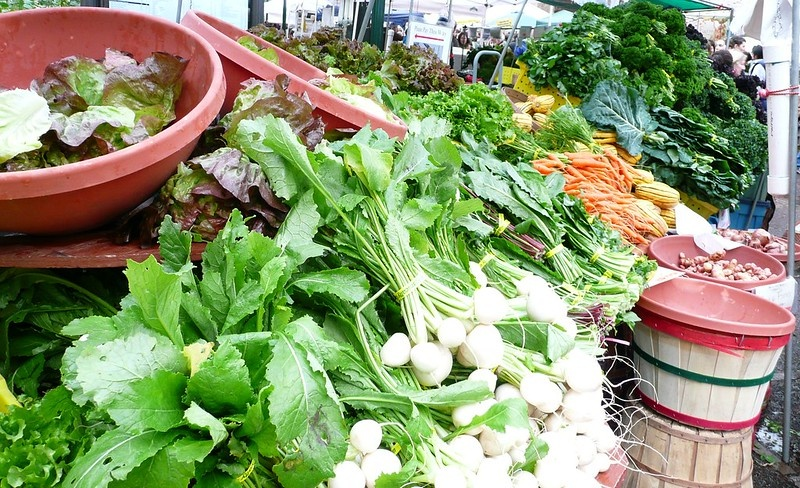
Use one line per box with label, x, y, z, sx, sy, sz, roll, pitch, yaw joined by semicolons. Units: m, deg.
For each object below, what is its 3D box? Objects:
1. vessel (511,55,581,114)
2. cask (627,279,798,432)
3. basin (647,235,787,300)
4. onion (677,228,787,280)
vessel;1.685;-1.810;5.784;0.755;0.283;0.511;26;10;11
cask;2.052;0.786;3.626;1.096;0.796;1.109;3;14;11
basin;2.587;0.118;4.074;0.665;0.246;0.650;0;21;0
onion;2.656;0.105;4.012;0.708;0.254;0.535;-2;17;-24
